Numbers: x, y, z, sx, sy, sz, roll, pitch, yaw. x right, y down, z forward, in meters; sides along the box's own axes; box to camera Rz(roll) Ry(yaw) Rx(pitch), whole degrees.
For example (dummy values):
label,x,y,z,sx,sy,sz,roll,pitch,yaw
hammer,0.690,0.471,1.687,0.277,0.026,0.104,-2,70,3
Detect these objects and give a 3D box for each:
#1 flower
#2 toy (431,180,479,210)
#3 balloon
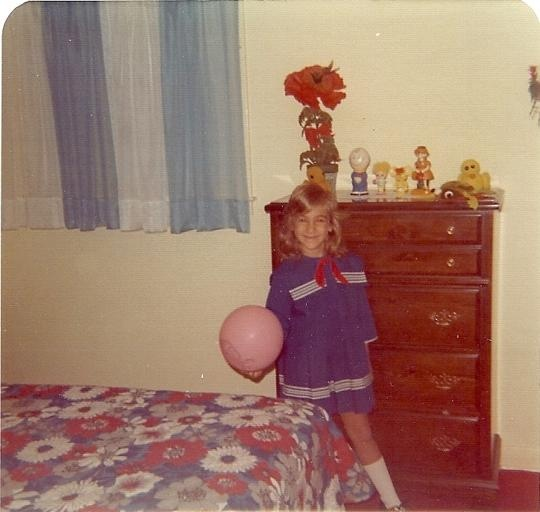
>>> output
label,x,y,z,sx,sy,sz,roll,pitch,yaw
flower,0.244,-0.734,3.350,0.319,0.582,0.369,-1,9,3
toy,0.860,-0.283,2.897,0.175,0.117,0.210,1,8,13
balloon,-0.113,0.359,2.836,0.381,0.300,0.306,1,2,-12
